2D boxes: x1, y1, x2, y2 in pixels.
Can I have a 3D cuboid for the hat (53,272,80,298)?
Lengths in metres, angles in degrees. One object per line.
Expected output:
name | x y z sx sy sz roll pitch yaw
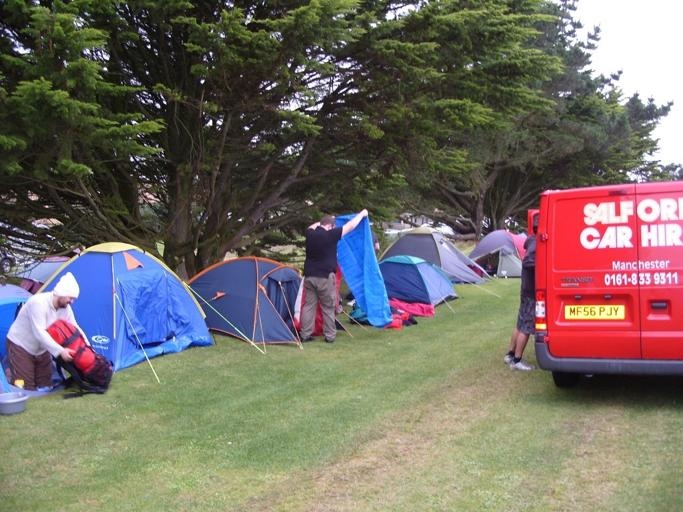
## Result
hat | -3.839 0.388 7.539 0.360 0.380 0.287 11 2 -24

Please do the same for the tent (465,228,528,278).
tent | 6.591 -0.092 22.129 2.389 1.296 2.506 -2 4 -9

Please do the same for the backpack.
backpack | -3.740 1.513 7.711 0.365 1.105 0.777 -20 35 -19

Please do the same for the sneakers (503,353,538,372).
sneakers | 2.912 1.758 8.661 0.442 0.219 0.161 18 6 9

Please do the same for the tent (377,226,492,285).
tent | 3.397 -0.015 18.735 2.410 1.225 2.473 2 5 33

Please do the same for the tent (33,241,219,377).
tent | -4.182 0.933 9.836 2.179 1.654 2.174 4 6 27

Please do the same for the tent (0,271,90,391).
tent | -4.271 1.091 7.603 1.152 1.704 0.521 0 8 6

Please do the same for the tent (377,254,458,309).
tent | 2.018 0.689 14.446 1.462 0.735 1.510 4 8 33
